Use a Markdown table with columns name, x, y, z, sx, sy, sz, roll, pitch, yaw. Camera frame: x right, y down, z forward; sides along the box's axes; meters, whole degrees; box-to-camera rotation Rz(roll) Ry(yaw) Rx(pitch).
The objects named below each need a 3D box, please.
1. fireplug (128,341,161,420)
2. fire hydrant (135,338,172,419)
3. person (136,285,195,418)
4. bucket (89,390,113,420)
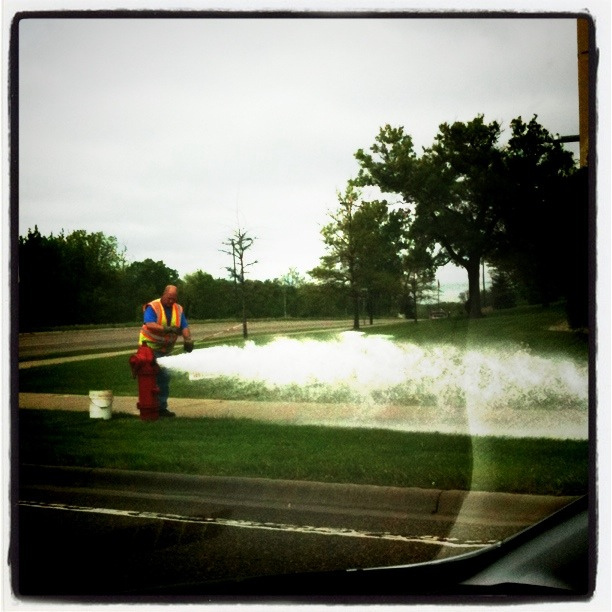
| name | x | y | z | sx | sy | sz | roll | pitch | yaw |
| --- | --- | --- | --- | --- | --- | --- | --- | --- | --- |
| fireplug | -1.755 | 0.815 | 11.079 | 0.285 | 0.891 | 0.564 | 0 | -1 | -28 |
| fire hydrant | -1.706 | 0.800 | 11.132 | 0.395 | 0.874 | 0.717 | 0 | -1 | 0 |
| person | -1.550 | 0.536 | 11.099 | 0.584 | 1.514 | 0.447 | 6 | 5 | 30 |
| bucket | -2.380 | 1.157 | 11.650 | 0.249 | 0.324 | 0.279 | 1 | 0 | -33 |
